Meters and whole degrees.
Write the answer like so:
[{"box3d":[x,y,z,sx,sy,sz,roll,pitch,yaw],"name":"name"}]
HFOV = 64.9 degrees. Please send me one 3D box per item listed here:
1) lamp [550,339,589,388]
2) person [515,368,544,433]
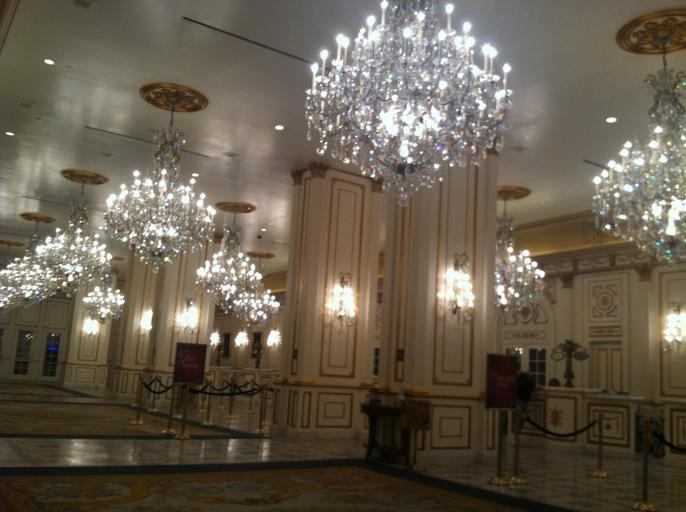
[{"box3d":[6.507,3.074,15.371,1.202,1.536,0.417,-3,-20,19],"name":"lamp"},{"box3d":[4.405,3.496,13.247,0.487,1.364,0.424,2,14,10],"name":"person"}]
